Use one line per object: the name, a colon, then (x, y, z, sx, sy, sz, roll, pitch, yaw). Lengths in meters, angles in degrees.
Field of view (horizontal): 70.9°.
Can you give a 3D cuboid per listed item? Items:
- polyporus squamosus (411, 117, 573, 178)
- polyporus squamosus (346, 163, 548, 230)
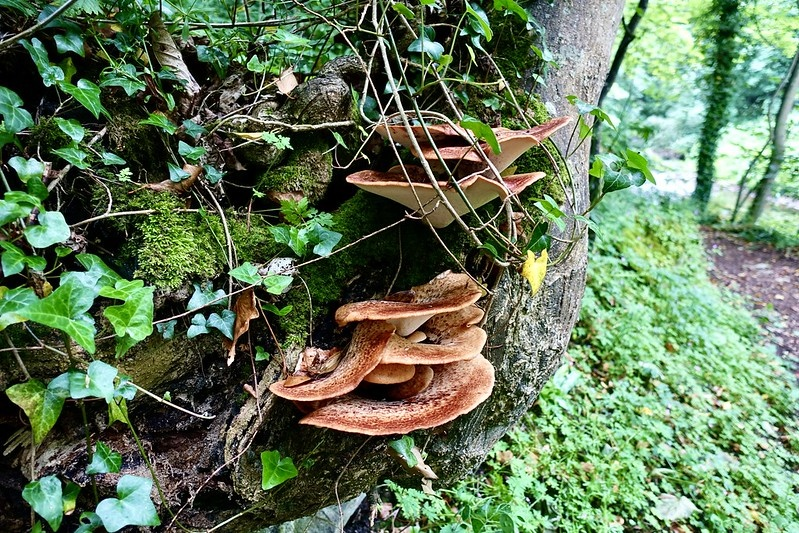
polyporus squamosus: (0.715, -0.813, 3.951, 0.633, 0.220, 0.649, -10, 11, -42)
polyporus squamosus: (0.263, -0.503, 3.800, 0.728, 0.252, 0.698, -1, 1, -14)
